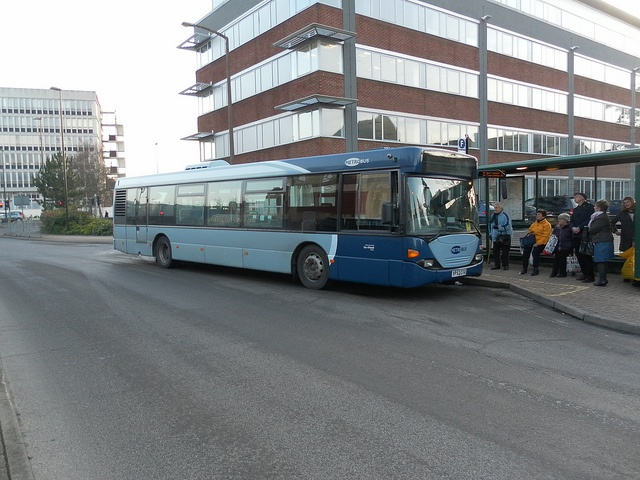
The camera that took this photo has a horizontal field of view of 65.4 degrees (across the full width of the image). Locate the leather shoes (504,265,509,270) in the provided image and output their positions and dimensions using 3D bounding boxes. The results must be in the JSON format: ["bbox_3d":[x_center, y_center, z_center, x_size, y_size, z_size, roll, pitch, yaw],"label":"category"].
[{"bbox_3d":[5.255,0.791,14.032,0.066,0.114,0.216,3,21,39],"label":"leather shoes"}]

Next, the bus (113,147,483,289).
[{"bbox_3d":[-1.928,-0.666,14.809,13.290,3.438,2.587,5,9,41],"label":"bus"}]

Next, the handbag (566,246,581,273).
[{"bbox_3d":[6.288,0.464,12.354,0.218,0.842,0.566,-2,-2,43],"label":"handbag"}]

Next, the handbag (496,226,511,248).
[{"bbox_3d":[5.064,-0.029,13.687,0.419,0.500,0.276,0,6,5],"label":"handbag"}]

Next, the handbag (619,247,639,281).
[{"bbox_3d":[7.048,0.591,11.336,0.314,0.855,0.758,3,7,31],"label":"handbag"}]

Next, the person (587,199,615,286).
[{"bbox_3d":[6.389,0.078,11.334,0.508,1.918,0.535,3,7,29],"label":"person"}]

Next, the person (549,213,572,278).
[{"bbox_3d":[6.062,0.156,12.451,0.487,1.591,0.545,4,8,37],"label":"person"}]

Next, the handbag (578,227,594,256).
[{"bbox_3d":[6.210,0.032,11.574,0.226,0.567,0.559,-4,5,10],"label":"handbag"}]

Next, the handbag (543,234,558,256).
[{"bbox_3d":[5.801,0.161,12.493,0.131,0.517,0.258,22,4,-43],"label":"handbag"}]
